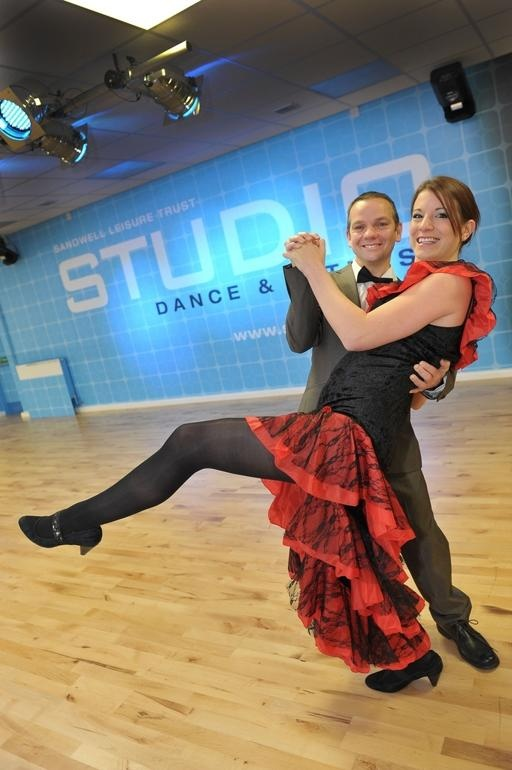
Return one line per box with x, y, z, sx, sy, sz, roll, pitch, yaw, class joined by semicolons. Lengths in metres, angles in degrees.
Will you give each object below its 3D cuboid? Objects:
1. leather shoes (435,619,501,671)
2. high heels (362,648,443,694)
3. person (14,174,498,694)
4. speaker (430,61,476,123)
0.610;0.733;1.560;0.069;0.068;0.175;-15;7;-12;leather shoes
0.407;0.788;1.517;0.205;0.094;0.104;-4;2;6;high heels
0.112;0.236;1.333;1.055;1.305;0.481;-13;8;-8;person
1.663;-2.482;4.588;0.259;0.380;0.355;-8;9;29;speaker
